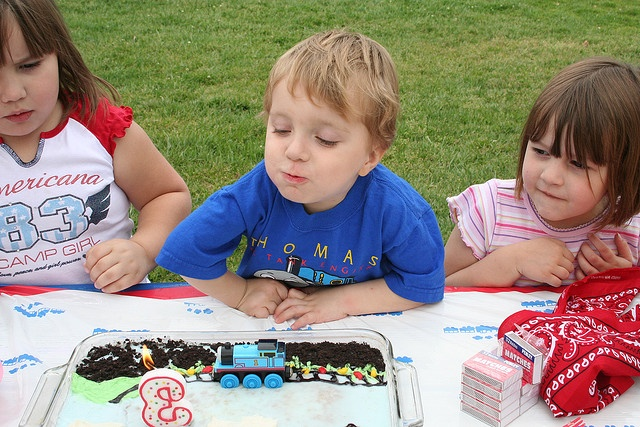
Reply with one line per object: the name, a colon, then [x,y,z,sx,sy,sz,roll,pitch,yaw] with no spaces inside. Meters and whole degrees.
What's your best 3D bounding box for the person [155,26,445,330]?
person: [-0.046,-0.108,2.464,1.215,1.100,0.622,-6,38,-13]
